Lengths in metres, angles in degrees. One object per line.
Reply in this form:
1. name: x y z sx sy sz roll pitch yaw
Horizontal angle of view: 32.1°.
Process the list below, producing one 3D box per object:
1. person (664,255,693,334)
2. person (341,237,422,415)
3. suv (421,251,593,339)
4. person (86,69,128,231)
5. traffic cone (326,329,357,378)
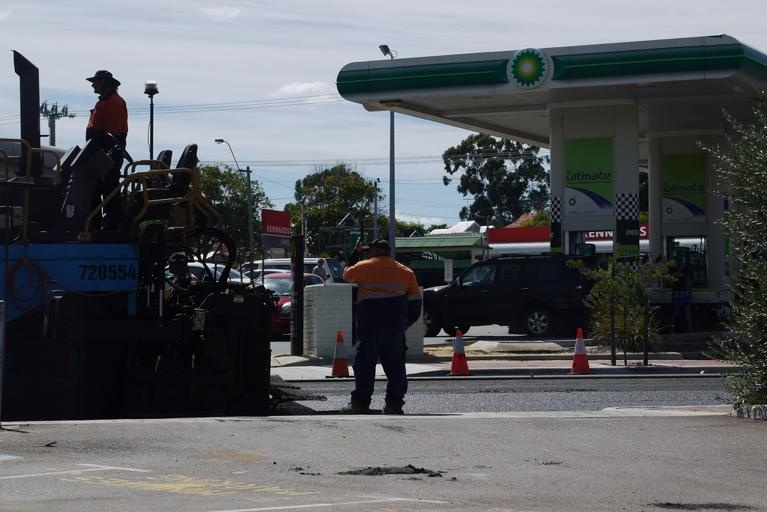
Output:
1. person: 6.990 0.851 31.484 0.479 1.318 2.978 -1 0 12
2. person: -0.012 0.975 19.689 1.093 2.540 0.693 -1 -1 -7
3. suv: 2.910 0.851 31.947 3.671 1.796 1.778 2 -2 11
4. person: -4.042 -1.638 19.625 0.560 2.342 0.907 -1 -1 -12
5. traffic cone: -0.678 1.773 24.974 0.695 1.006 0.691 4 -7 -39
